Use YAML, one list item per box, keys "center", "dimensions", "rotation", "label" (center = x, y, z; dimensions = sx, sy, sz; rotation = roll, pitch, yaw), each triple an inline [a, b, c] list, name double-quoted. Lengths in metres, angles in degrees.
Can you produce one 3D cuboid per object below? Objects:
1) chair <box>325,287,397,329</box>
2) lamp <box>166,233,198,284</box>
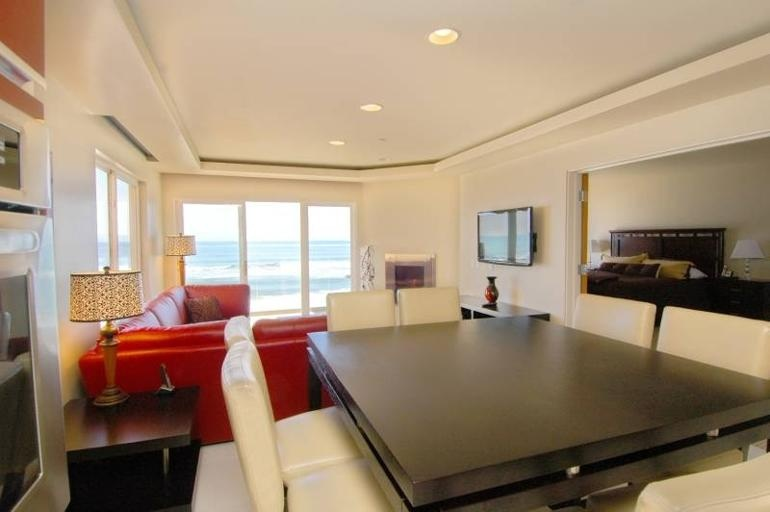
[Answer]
- center: [-0.188, 0.429, 4.065]
  dimensions: [0.551, 0.358, 0.294]
  rotation: [-1, 1, -16]
  label: "chair"
- center: [-2.712, 0.066, 6.849]
  dimensions: [0.338, 0.768, 0.705]
  rotation: [-8, 16, -23]
  label: "lamp"
